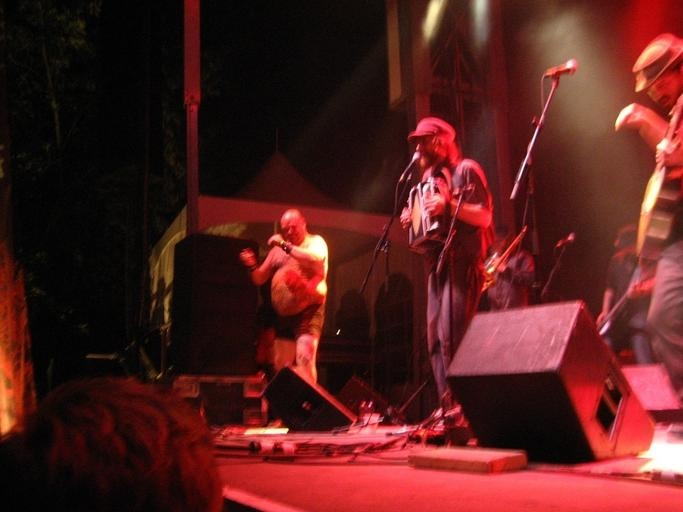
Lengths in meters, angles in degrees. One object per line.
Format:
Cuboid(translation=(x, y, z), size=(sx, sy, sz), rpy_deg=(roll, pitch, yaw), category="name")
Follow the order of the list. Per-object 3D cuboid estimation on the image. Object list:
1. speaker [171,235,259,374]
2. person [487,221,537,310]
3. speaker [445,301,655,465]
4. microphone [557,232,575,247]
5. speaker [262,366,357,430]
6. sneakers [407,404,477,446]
Cuboid(translation=(-1.103, 0.408, 5.808), size=(0.732, 1.199, 0.480), rpy_deg=(2, -2, -16), category="speaker")
Cuboid(translation=(1.586, 0.239, 6.172), size=(0.317, 0.906, 0.686), rpy_deg=(3, -41, 10), category="person")
Cuboid(translation=(1.071, 0.565, 3.447), size=(0.822, 0.787, 0.818), rpy_deg=(22, -25, -30), category="speaker")
Cuboid(translation=(2.013, -0.152, 5.945), size=(0.166, 0.140, 0.242), rpy_deg=(0, -3, 19), category="microphone")
Cuboid(translation=(-0.254, 1.080, 5.019), size=(0.592, 0.336, 0.327), rpy_deg=(38, -6, 6), category="speaker")
Cuboid(translation=(0.619, 0.992, 3.864), size=(0.206, 0.132, 0.340), rpy_deg=(-10, -10, 33), category="sneakers")
